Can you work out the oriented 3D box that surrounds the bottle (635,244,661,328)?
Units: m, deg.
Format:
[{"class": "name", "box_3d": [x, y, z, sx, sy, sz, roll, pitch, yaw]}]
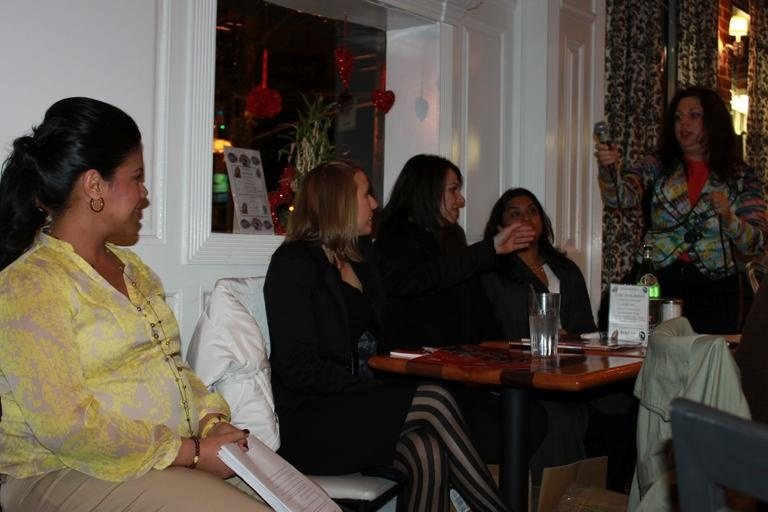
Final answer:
[{"class": "bottle", "box_3d": [1.227, 0.160, 2.739, 0.112, 0.409, 0.117, 3, 1, 0]}]

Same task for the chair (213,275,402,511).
[{"class": "chair", "box_3d": [-0.290, 0.558, 2.583, 0.812, 1.058, 0.787, -1, -10, 9]}]

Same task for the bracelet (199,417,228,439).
[{"class": "bracelet", "box_3d": [-0.538, 0.527, 1.808, 0.053, 0.030, 0.073, 0, 6, 6]}]

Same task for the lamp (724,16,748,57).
[{"class": "lamp", "box_3d": [3.588, -2.215, 5.932, 0.225, 0.360, 0.192, 2, 5, 21]}]

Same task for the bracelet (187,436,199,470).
[{"class": "bracelet", "box_3d": [-0.528, 0.549, 1.619, 0.029, 0.081, 0.034, -4, 4, -21]}]
